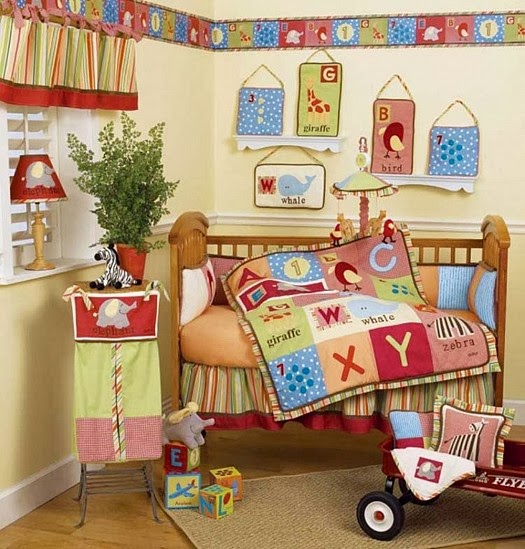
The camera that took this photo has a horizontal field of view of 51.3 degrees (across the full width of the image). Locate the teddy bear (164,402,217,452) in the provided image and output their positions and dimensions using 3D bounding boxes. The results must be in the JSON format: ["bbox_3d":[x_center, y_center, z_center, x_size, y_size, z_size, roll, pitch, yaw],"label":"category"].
[{"bbox_3d":[-0.272,0.594,2.089,0.195,0.101,0.129,-1,-1,15],"label":"teddy bear"}]

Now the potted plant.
[{"bbox_3d":[-0.541,-0.328,2.129,0.391,0.708,0.607,-1,5,-19],"label":"potted plant"}]

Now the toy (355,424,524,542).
[{"bbox_3d":[0.530,0.641,1.726,0.485,0.147,0.316,-8,-4,31],"label":"toy"}]

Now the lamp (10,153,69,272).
[{"bbox_3d":[-0.775,-0.220,1.919,0.171,0.413,0.246,-1,5,-16],"label":"lamp"}]

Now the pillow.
[{"bbox_3d":[0.623,0.549,1.753,0.334,0.259,0.396,-3,-3,44],"label":"pillow"}]
